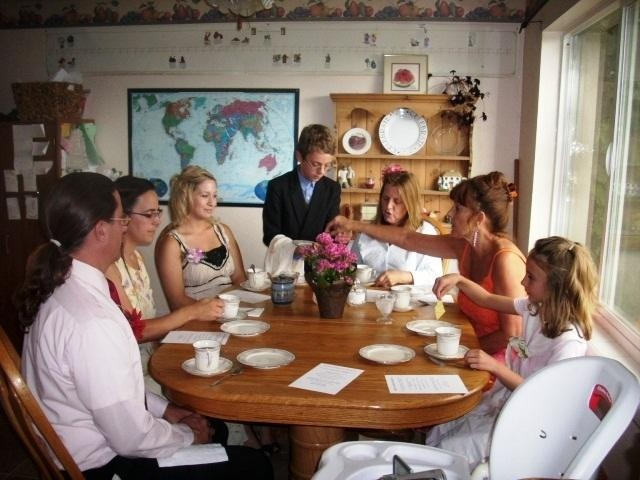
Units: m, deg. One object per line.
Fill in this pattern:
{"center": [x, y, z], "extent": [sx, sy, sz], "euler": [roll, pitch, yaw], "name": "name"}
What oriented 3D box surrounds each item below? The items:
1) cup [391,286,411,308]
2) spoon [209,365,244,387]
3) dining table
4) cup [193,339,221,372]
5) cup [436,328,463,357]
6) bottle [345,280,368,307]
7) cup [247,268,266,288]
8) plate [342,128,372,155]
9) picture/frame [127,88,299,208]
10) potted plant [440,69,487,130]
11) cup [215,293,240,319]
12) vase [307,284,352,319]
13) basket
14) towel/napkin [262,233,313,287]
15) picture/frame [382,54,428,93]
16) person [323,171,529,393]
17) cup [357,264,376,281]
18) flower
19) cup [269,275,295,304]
{"center": [0.421, 0.289, 2.326], "extent": [0.093, 0.087, 0.109], "euler": [-2, 1, -13], "name": "cup"}
{"center": [-0.322, 0.476, 1.595], "extent": [0.032, 0.018, 0.154], "euler": [10, 16, 14], "name": "spoon"}
{"center": [0.007, 0.528, 1.736], "extent": [0.952, 0.449, 0.714], "euler": [0, 14, 0], "name": "dining table"}
{"center": [-0.390, 0.408, 1.629], "extent": [0.105, 0.084, 0.095], "euler": [-1, 15, -6], "name": "cup"}
{"center": [0.494, 0.389, 1.772], "extent": [0.098, 0.078, 0.106], "euler": [1, 4, 0], "name": "cup"}
{"center": [0.187, 0.294, 2.407], "extent": [0.105, 0.095, 0.089], "euler": [0, 9, -8], "name": "bottle"}
{"center": [-0.375, 0.216, 2.611], "extent": [0.116, 0.086, 0.095], "euler": [-1, 5, -23], "name": "cup"}
{"center": [0.358, -0.955, 4.405], "extent": [0.287, 0.246, 0.117], "euler": [2, 14, 3], "name": "plate"}
{"center": [-0.930, -0.928, 4.338], "extent": [1.528, 0.991, 0.033], "euler": [2, 11, 8], "name": "picture/frame"}
{"center": [1.352, -1.328, 4.264], "extent": [0.422, 0.535, 0.406], "euler": [5, 15, 17], "name": "potted plant"}
{"center": [-0.414, 0.300, 2.097], "extent": [0.110, 0.085, 0.093], "euler": [-5, 11, -21], "name": "cup"}
{"center": [0.052, 0.277, 2.110], "extent": [0.196, 0.131, 0.166], "euler": [0, -1, -2], "name": "vase"}
{"center": [-2.400, -1.241, 4.253], "extent": [0.449, 0.289, 0.612], "euler": [5, 14, 16], "name": "basket"}
{"center": [-0.221, 0.126, 2.805], "extent": [0.298, 0.285, 0.126], "euler": [4, -8, 13], "name": "towel/napkin"}
{"center": [0.820, -1.585, 4.356], "extent": [0.443, 0.367, 0.041], "euler": [-1, 3, 7], "name": "picture/frame"}
{"center": [0.475, 0.044, 2.790], "extent": [1.270, 1.214, 0.877], "euler": [6, 7, -6], "name": "person"}
{"center": [0.262, 0.191, 2.639], "extent": [0.087, 0.080, 0.105], "euler": [1, 19, -10], "name": "cup"}
{"center": [0.025, 0.064, 2.158], "extent": [0.254, 0.208, 0.245], "euler": [1, 8, -5], "name": "flower"}
{"center": [-0.185, 0.258, 2.296], "extent": [0.143, 0.129, 0.106], "euler": [1, 4, -3], "name": "cup"}
